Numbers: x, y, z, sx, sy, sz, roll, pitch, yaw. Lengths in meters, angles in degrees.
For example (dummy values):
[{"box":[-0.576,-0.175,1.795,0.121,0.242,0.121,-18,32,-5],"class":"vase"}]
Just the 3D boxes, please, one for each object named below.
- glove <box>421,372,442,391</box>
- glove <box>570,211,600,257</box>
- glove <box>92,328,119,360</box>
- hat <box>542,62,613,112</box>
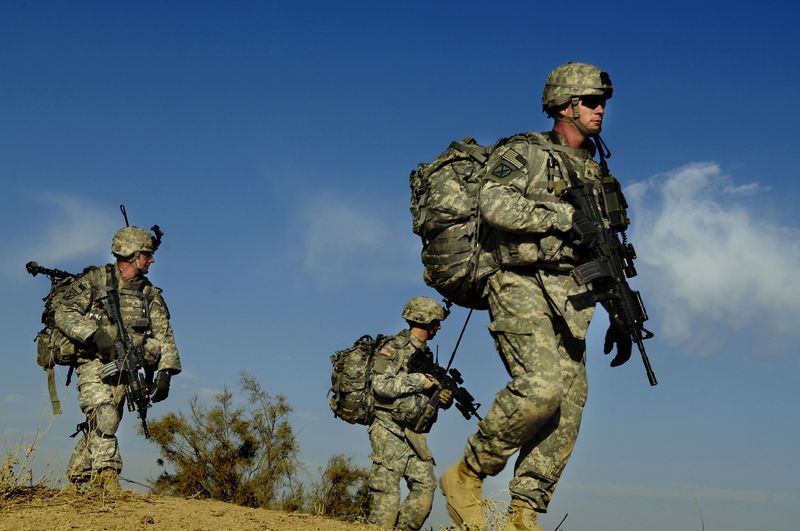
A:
[{"box":[0.473,1.856,17.120,0.203,0.290,0.256,-10,-17,-35],"class":"glove"},{"box":[2.361,-0.456,13.637,0.373,0.499,0.112,3,-8,-15],"class":"glove"},{"box":[-4.537,1.225,16.381,0.313,0.500,0.158,-22,9,-38],"class":"glove"},{"box":[2.406,-2.340,14.521,0.931,0.781,0.932,6,0,34],"class":"hat"}]
